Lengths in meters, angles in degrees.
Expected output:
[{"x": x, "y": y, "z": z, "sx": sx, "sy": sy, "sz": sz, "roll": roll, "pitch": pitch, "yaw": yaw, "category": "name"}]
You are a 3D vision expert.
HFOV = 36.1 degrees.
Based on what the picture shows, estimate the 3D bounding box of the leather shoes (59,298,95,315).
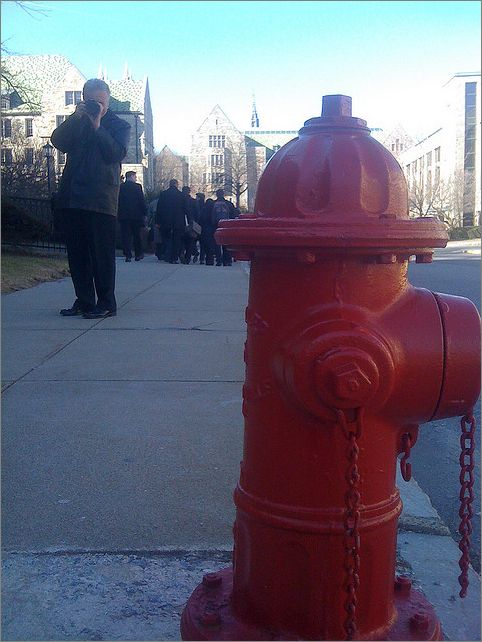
[{"x": -1.311, "y": -0.101, "z": 5.870, "sx": 0.317, "sy": 0.182, "sz": 0.127, "roll": 2, "pitch": -2, "yaw": -8, "category": "leather shoes"}]

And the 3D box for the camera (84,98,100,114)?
[{"x": -1.075, "y": -1.546, "z": 5.307, "sx": 0.092, "sy": 0.114, "sz": 0.072, "roll": 3, "pitch": 13, "yaw": 5, "category": "camera"}]

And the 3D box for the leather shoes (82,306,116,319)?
[{"x": -1.118, "y": -0.063, "z": 5.844, "sx": 0.231, "sy": 0.089, "sz": 0.087, "roll": 3, "pitch": -4, "yaw": -42, "category": "leather shoes"}]

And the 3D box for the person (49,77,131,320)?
[{"x": -1.134, "y": -0.910, "z": 5.582, "sx": 0.538, "sy": 1.821, "sz": 0.522, "roll": 4, "pitch": 8, "yaw": 23, "category": "person"}]
